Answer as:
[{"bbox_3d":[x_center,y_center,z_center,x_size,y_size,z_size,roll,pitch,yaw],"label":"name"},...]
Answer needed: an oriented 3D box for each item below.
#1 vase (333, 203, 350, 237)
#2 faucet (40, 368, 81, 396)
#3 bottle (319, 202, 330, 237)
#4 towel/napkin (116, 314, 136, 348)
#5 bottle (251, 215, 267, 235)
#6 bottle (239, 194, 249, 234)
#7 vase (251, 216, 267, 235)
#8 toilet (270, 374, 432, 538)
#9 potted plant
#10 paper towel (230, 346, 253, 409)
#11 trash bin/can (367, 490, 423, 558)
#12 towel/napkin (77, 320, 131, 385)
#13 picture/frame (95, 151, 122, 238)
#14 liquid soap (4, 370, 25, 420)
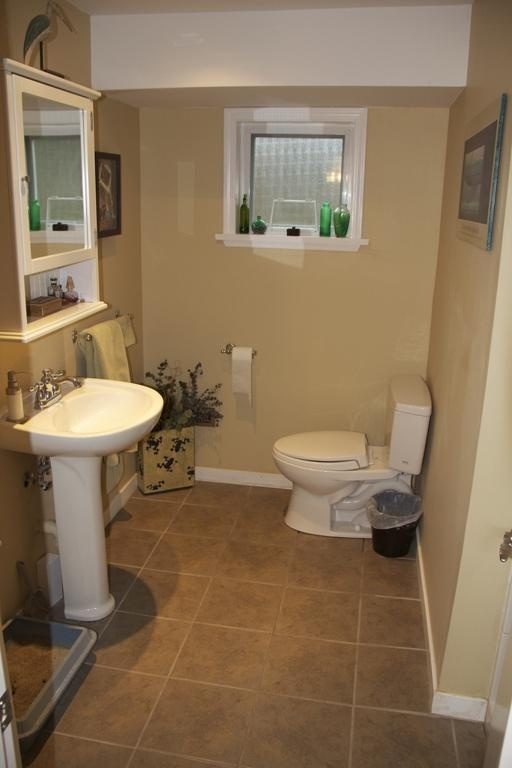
[{"bbox_3d":[0.412,-0.782,2.675,0.085,0.151,0.134,4,10,12],"label":"vase"},{"bbox_3d":[-0.667,-0.009,1.856,0.059,0.074,0.149,1,8,8],"label":"faucet"},{"bbox_3d":[0.343,-0.813,2.741,0.066,0.162,0.130,3,10,6],"label":"bottle"},{"bbox_3d":[-0.604,-0.244,2.549,0.041,0.147,0.122,-1,2,20],"label":"towel/napkin"},{"bbox_3d":[0.009,-0.802,2.778,0.070,0.094,0.093,1,10,-4],"label":"bottle"},{"bbox_3d":[-0.061,-0.861,2.794,0.055,0.194,0.125,1,10,-1],"label":"bottle"},{"bbox_3d":[0.011,-0.783,2.752,0.077,0.111,0.082,15,28,30],"label":"vase"},{"bbox_3d":[0.428,0.313,2.670,0.673,0.858,0.473,6,24,11],"label":"toilet"},{"bbox_3d":[-0.405,0.207,2.878,0.497,0.843,0.317,-2,14,-11],"label":"potted plant"},{"bbox_3d":[-0.080,-0.030,2.931,0.117,0.334,0.145,1,10,-1],"label":"paper towel"},{"bbox_3d":[0.622,0.650,2.486,0.200,0.267,0.237,-10,24,12],"label":"trash bin/can"},{"bbox_3d":[-0.637,-0.122,2.255,0.073,0.237,0.192,6,19,15],"label":"towel/napkin"},{"bbox_3d":[-0.648,-0.818,2.394,0.013,0.359,0.300,-5,14,-36],"label":"picture/frame"},{"bbox_3d":[-0.711,0.037,1.621,0.047,0.150,0.061,-3,11,-27],"label":"liquid soap"}]
